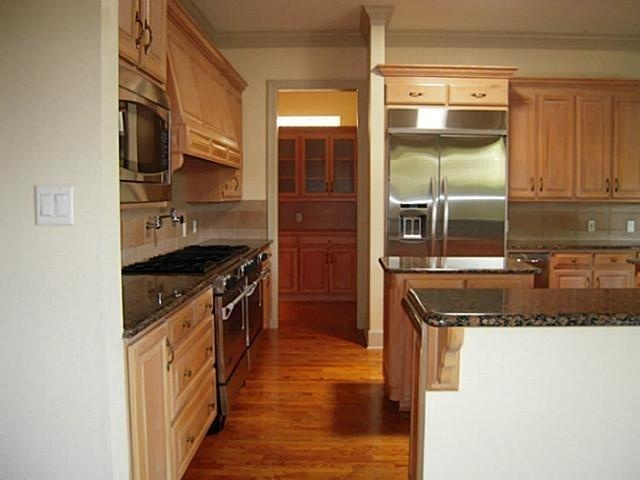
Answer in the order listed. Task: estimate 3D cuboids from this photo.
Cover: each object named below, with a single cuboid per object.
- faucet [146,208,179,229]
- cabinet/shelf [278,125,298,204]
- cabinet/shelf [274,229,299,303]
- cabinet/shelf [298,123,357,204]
[{"bbox_3d":[-1.163,-0.147,4.109,0.114,0.078,0.198,2,8,20],"label":"faucet"},{"bbox_3d":[-0.404,-0.971,7.102,0.243,0.863,0.196,-1,11,-4],"label":"cabinet/shelf"},{"bbox_3d":[-0.376,0.316,6.734,0.227,0.809,0.134,-1,11,-3],"label":"cabinet/shelf"},{"bbox_3d":[0.109,-0.979,7.135,1.028,1.237,0.464,-1,2,-1],"label":"cabinet/shelf"}]
